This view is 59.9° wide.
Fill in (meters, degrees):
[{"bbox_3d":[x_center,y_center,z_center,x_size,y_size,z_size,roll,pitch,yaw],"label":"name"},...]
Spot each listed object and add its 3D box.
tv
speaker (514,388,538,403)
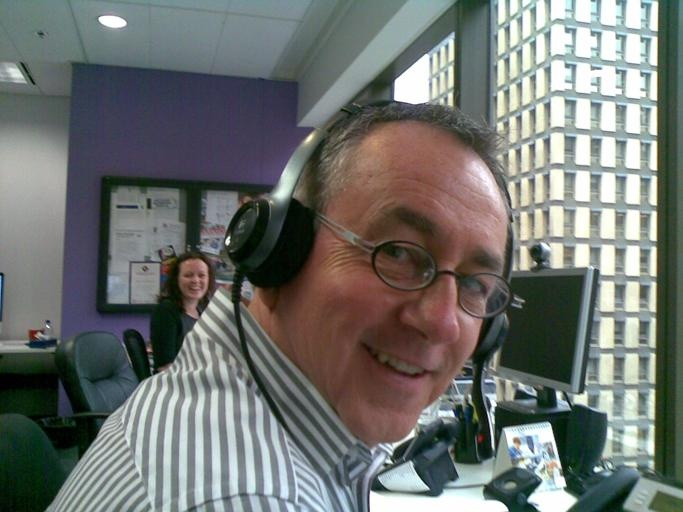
[{"bbox_3d":[0.712,0.297,2.085,0.049,0.526,0.478,13,-17,-27],"label":"tv"},{"bbox_3d":[0.727,0.552,2.324,0.079,0.024,0.077,3,0,-6],"label":"speaker"}]
